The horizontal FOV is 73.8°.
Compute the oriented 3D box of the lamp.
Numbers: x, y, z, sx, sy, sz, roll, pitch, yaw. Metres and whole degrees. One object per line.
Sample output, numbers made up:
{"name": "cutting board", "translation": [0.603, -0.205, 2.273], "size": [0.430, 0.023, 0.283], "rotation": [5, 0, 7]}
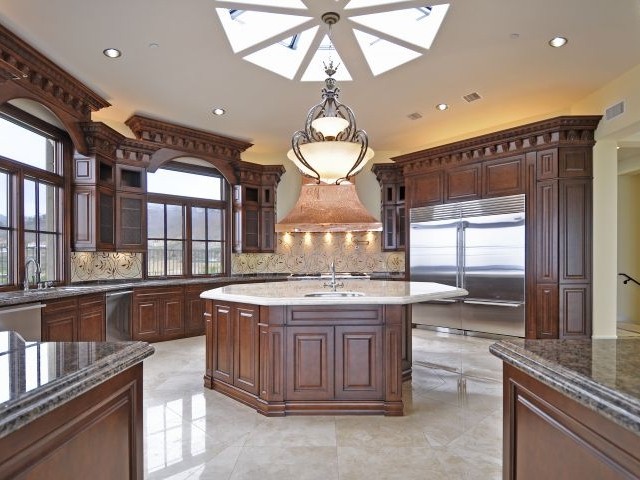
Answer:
{"name": "lamp", "translation": [0.076, -1.166, 3.481], "size": [0.672, 1.270, 0.638], "rotation": [0, 4, -32]}

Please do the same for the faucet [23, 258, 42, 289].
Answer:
{"name": "faucet", "translation": [-3.259, 0.395, 4.866], "size": [0.161, 0.370, 0.693], "rotation": [-2, 3, -33]}
